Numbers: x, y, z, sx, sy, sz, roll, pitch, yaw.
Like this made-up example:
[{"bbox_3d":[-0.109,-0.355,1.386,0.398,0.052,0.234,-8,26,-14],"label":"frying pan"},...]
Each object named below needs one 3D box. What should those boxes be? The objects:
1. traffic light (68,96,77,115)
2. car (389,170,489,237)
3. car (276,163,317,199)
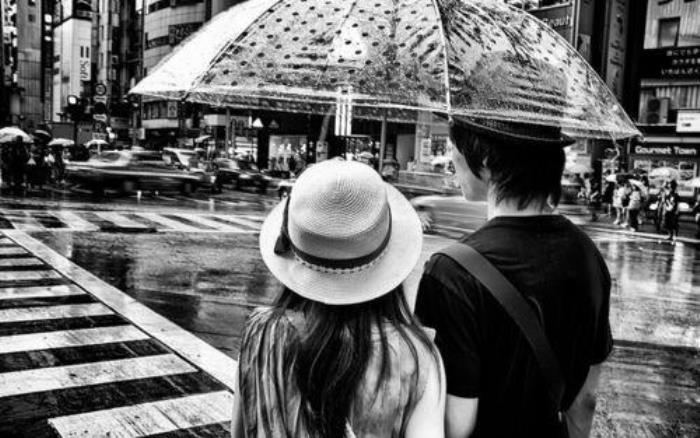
[{"bbox_3d":[-13.620,-5.603,35.876,0.444,0.920,2.058,-1,10,-21],"label":"traffic light"},{"bbox_3d":[2.021,-0.391,16.278,1.881,0.992,1.147,-1,4,24],"label":"car"},{"bbox_3d":[-1.749,-1.082,25.172,0.851,0.909,1.820,9,-3,-25],"label":"car"}]
